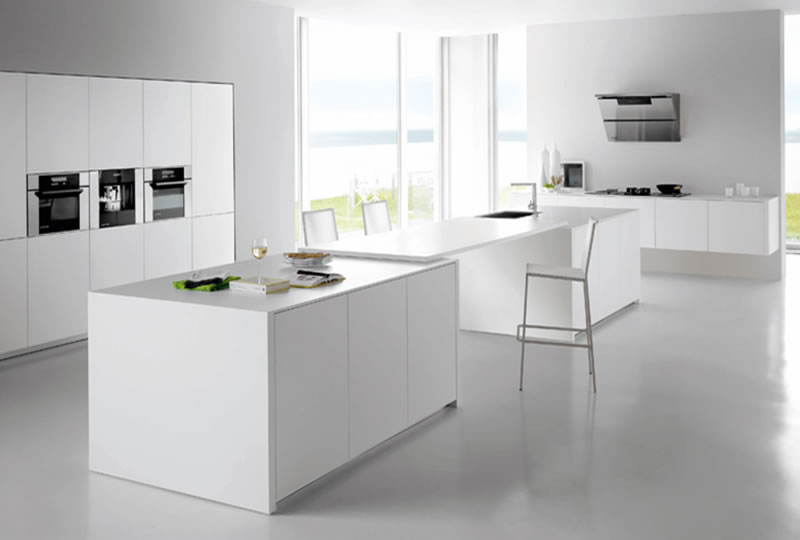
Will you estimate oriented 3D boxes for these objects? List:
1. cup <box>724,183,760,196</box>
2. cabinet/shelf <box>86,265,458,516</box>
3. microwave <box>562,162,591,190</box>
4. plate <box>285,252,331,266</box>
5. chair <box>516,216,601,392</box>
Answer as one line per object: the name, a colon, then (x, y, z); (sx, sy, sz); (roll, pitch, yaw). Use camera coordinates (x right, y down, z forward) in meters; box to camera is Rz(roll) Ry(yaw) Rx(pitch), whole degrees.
cup: (4.794, -1.101, 7.968); (0.290, 0.150, 0.237); (-3, 7, -11)
cabinet/shelf: (-0.662, 0.625, 3.349); (2.179, 1.065, 0.958); (-6, 12, -28)
microwave: (2.791, -1.492, 8.945); (0.400, 0.418, 0.234); (2, 4, 34)
plate: (-0.655, -0.073, 3.920); (0.353, 0.074, 0.194); (3, 12, 16)
chair: (1.337, 0.292, 4.776); (0.725, 1.265, 0.734); (0, 1, -3)
